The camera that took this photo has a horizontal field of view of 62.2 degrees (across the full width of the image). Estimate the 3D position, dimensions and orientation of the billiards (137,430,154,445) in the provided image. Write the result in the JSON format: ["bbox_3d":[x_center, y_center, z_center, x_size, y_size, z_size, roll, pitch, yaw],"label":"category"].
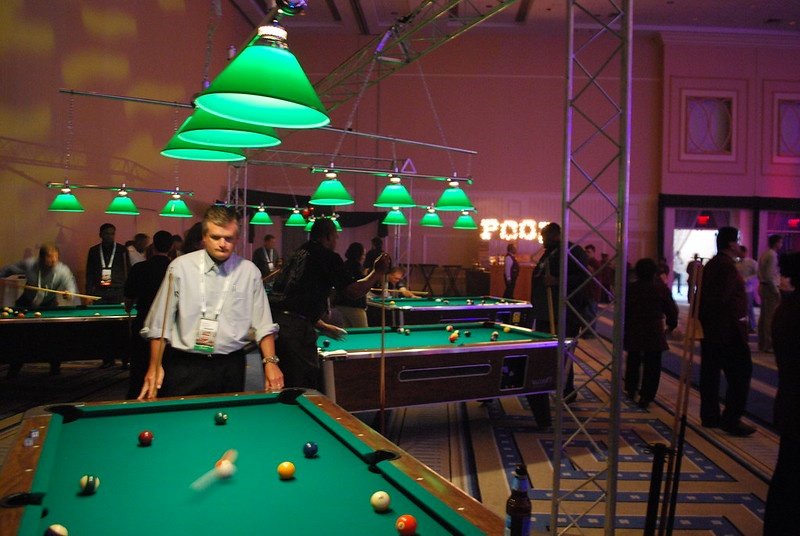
[{"bbox_3d":[-2.039,1.390,5.360,0.116,0.103,0.107,1,-35,-4],"label":"billiards"}]

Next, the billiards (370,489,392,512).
[{"bbox_3d":[-0.135,1.722,4.886,0.140,0.132,0.136,6,14,21],"label":"billiards"}]

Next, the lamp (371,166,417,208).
[{"bbox_3d":[-0.058,-1.054,8.711,0.563,0.394,0.542,10,14,40],"label":"lamp"}]

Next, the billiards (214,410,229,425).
[{"bbox_3d":[-1.506,1.283,5.623,0.096,0.095,0.094,-6,12,-22],"label":"billiards"}]

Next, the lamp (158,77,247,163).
[{"bbox_3d":[-1.776,-1.273,6.169,0.721,0.713,0.737,3,-16,-12],"label":"lamp"}]

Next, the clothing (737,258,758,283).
[{"bbox_3d":[6.306,0.024,12.021,0.187,0.486,0.542,-1,0,-30],"label":"clothing"}]

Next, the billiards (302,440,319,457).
[{"bbox_3d":[-0.702,1.454,5.285,0.113,0.107,0.110,9,16,-21],"label":"billiards"}]

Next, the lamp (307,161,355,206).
[{"bbox_3d":[-0.906,-1.104,8.752,0.564,0.394,0.559,-1,1,28],"label":"lamp"}]

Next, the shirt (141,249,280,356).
[{"bbox_3d":[-1.828,0.361,6.335,1.178,0.870,0.563,7,-5,-18],"label":"shirt"}]

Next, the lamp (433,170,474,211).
[{"bbox_3d":[0.779,-1.106,9.570,0.635,0.406,0.614,1,13,-1],"label":"lamp"}]

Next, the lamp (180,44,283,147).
[{"bbox_3d":[-1.422,-1.319,5.444,0.531,0.533,0.551,1,-10,-9],"label":"lamp"}]

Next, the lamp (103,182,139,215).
[{"bbox_3d":[-4.316,-1.098,10.370,0.392,0.407,0.585,2,0,-16],"label":"lamp"}]

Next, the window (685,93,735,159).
[{"bbox_3d":[8.367,-3.950,17.838,1.873,2.089,0.094,0,-1,-7],"label":"window"}]

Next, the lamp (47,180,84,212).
[{"bbox_3d":[-5.129,-1.127,10.134,0.425,0.421,0.900,2,0,-30],"label":"lamp"}]

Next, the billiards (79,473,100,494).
[{"bbox_3d":[-2.304,1.636,4.926,0.128,0.126,0.074,2,0,-24],"label":"billiards"}]

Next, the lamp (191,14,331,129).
[{"bbox_3d":[-1.051,-1.406,5.106,0.950,0.586,0.922,3,6,-19],"label":"lamp"}]

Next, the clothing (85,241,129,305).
[{"bbox_3d":[-4.583,0.226,10.431,0.662,1.310,0.304,3,11,-16],"label":"clothing"}]

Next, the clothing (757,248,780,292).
[{"bbox_3d":[6.395,-0.008,11.483,0.373,0.697,0.713,-3,1,17],"label":"clothing"}]
